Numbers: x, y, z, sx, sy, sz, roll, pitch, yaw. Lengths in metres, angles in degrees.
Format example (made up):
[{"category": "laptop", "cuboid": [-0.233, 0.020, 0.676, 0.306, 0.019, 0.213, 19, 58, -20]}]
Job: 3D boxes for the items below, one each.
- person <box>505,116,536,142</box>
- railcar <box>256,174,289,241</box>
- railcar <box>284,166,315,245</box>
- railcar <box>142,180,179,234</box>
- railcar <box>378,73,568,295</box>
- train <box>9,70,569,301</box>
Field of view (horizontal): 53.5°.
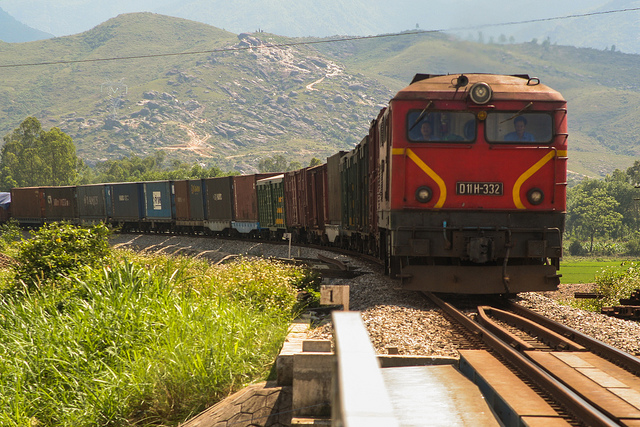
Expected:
[{"category": "person", "cuboid": [4.510, -1.889, 14.381, 0.722, 0.650, 0.354, 2, 17, 23]}, {"category": "railcar", "cuboid": [-3.392, -0.305, 34.547, 1.514, 3.371, 3.764, -10, 3, -31]}, {"category": "railcar", "cuboid": [-0.649, -0.400, 30.498, 1.793, 3.392, 1.838, 2, -4, -18]}, {"category": "railcar", "cuboid": [-11.570, -0.742, 41.840, 1.981, 2.646, 3.596, -6, -3, 18]}, {"category": "railcar", "cuboid": [3.677, -0.603, 17.562, 2.439, 3.628, 7.019, 0, -1, 2]}, {"category": "train", "cuboid": [-0.479, -1.283, 28.747, 3.747, 5.164, 30.300, 1, 1, -16]}]
